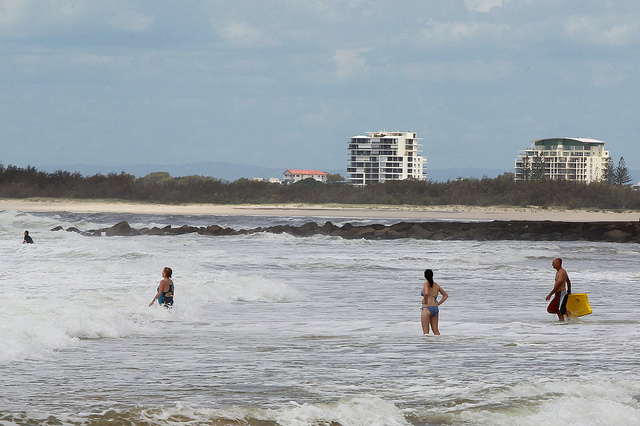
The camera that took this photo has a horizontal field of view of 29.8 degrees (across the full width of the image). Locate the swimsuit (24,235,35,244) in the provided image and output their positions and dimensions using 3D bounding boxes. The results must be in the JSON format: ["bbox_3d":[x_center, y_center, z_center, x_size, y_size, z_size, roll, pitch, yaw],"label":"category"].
[{"bbox_3d":[-14.002,1.289,57.441,0.410,0.475,0.673,-1,22,-18],"label":"swimsuit"}]

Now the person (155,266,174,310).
[{"bbox_3d":[-5.339,2.540,40.837,0.573,1.423,0.983,2,1,-3],"label":"person"}]

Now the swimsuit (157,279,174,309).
[{"bbox_3d":[-5.294,2.723,40.879,0.528,0.966,0.296,2,2,-15],"label":"swimsuit"}]

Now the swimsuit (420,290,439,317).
[{"bbox_3d":[3.577,2.962,39.162,0.498,0.682,1.014,2,1,4],"label":"swimsuit"}]

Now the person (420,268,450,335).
[{"bbox_3d":[3.686,2.849,38.955,0.851,2.073,0.859,2,2,-10],"label":"person"}]
